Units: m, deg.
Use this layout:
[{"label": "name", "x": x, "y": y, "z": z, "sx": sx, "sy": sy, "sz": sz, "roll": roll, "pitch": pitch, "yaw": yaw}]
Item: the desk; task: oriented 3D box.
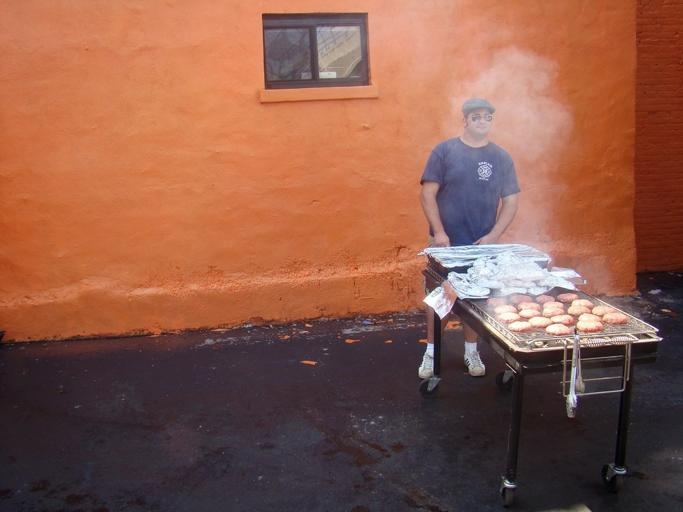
[{"label": "desk", "x": 1.679, "y": 0.650, "z": 5.155, "sx": 1.635, "sy": 1.720, "sz": 2.608, "roll": -1, "pitch": 9, "yaw": -9}]

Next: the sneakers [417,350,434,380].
[{"label": "sneakers", "x": 0.836, "y": 1.116, "z": 6.114, "sx": 0.114, "sy": 0.125, "sz": 0.307, "roll": -2, "pitch": 8, "yaw": 11}]
